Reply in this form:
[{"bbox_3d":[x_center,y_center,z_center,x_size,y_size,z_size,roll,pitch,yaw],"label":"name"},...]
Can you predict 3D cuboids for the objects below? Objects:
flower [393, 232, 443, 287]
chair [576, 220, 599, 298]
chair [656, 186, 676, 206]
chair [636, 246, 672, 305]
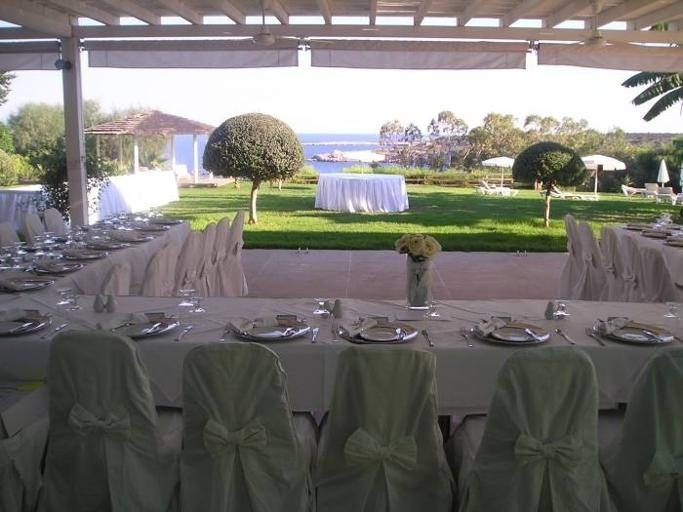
[{"bbox_3d":[0.444,-0.028,3.827,0.222,0.276,0.254,3,30,1],"label":"flower"},{"bbox_3d":[2.225,0.050,5.750,0.233,0.695,0.286,4,9,20],"label":"chair"},{"bbox_3d":[7.567,-1.391,14.956,0.424,0.475,0.360,6,12,36],"label":"chair"},{"bbox_3d":[2.561,0.168,5.204,0.293,0.429,0.175,7,11,34],"label":"chair"}]
